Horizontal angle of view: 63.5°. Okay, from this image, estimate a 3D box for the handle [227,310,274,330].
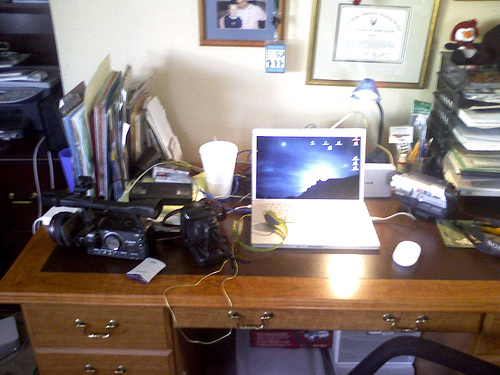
[{"bbox_3d":[0.012,0.418,1.276,0.128,0.077,0.013,-1,25,-4],"label":"handle"}]

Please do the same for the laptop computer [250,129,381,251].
[{"bbox_3d":[0.228,0.001,1.454,0.475,0.256,0.392,3,33,6],"label":"laptop computer"}]

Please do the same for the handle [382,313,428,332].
[{"bbox_3d":[0.489,0.436,1.284,0.144,0.081,0.019,-1,25,-4],"label":"handle"}]

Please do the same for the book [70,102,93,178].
[{"bbox_3d":[-0.605,-0.153,1.455,0.048,0.243,0.021,-9,26,-20],"label":"book"}]

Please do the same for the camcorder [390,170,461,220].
[{"bbox_3d":[0.662,0.015,1.542,0.199,0.070,0.199,31,58,33],"label":"camcorder"}]

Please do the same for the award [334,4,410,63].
[{"bbox_3d":[0.487,-0.618,1.620,0.239,0.210,0.059,3,32,0],"label":"award"}]

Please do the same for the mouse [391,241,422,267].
[{"bbox_3d":[0.521,0.222,1.349,0.076,0.062,0.063,-21,31,-39],"label":"mouse"}]
